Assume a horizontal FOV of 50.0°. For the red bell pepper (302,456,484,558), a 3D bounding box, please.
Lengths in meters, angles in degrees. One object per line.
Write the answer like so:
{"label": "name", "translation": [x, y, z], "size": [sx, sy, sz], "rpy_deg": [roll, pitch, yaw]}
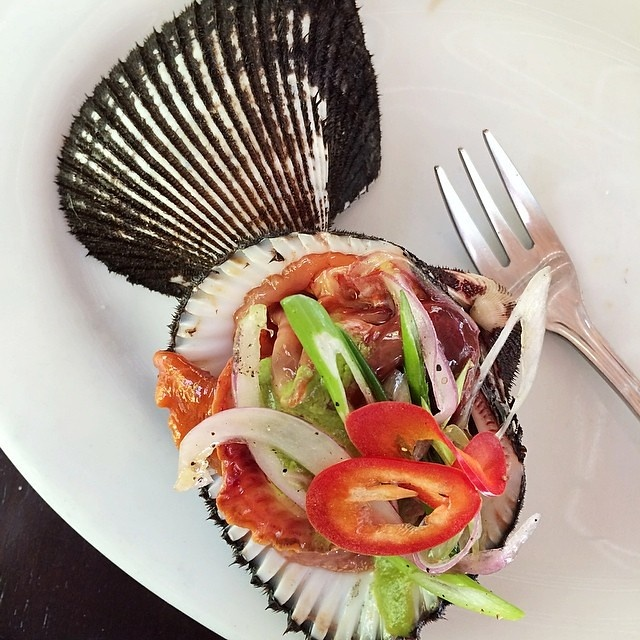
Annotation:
{"label": "red bell pepper", "translation": [0.076, 0.206, 0.748], "size": [0.185, 0.080, 0.102], "rpy_deg": [6, 71, 11]}

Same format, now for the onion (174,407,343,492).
{"label": "onion", "translation": [-0.113, 0.172, 0.955], "size": [0.176, 0.302, 0.072], "rpy_deg": [20, 76, -9]}

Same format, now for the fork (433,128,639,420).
{"label": "fork", "translation": [0.342, -0.057, 1.077], "size": [0.087, 0.074, 0.610], "rpy_deg": [-43, 92, -15]}

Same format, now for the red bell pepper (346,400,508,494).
{"label": "red bell pepper", "translation": [0.098, 0.155, 0.750], "size": [0.141, 0.266, 0.058], "rpy_deg": [9, 78, 0]}
